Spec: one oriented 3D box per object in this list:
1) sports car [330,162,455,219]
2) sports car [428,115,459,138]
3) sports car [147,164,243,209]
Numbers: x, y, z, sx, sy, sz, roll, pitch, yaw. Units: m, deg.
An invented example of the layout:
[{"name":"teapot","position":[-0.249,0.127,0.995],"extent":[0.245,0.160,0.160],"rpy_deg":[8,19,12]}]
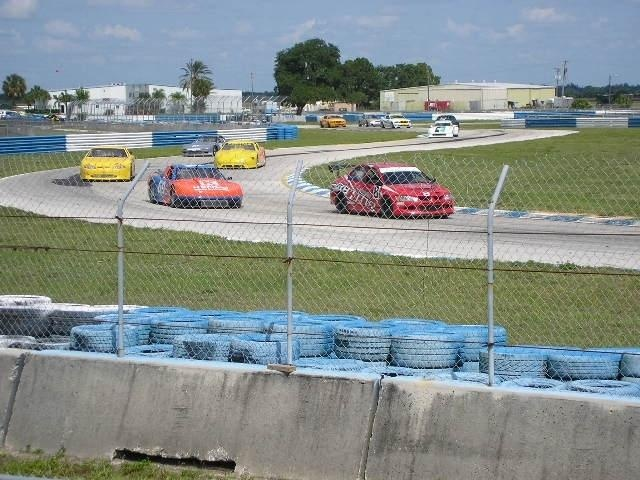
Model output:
[{"name":"sports car","position":[1.481,-1.080,23.695],"extent":[1.218,0.788,2.251],"rpy_deg":[-3,6,-33]},{"name":"sports car","position":[6.307,-5.668,55.142],"extent":[1.222,0.976,2.620],"rpy_deg":[-1,6,15]},{"name":"sports car","position":[-2.774,-1.222,25.126],"extent":[1.837,0.975,2.120],"rpy_deg":[-4,8,-17]}]
